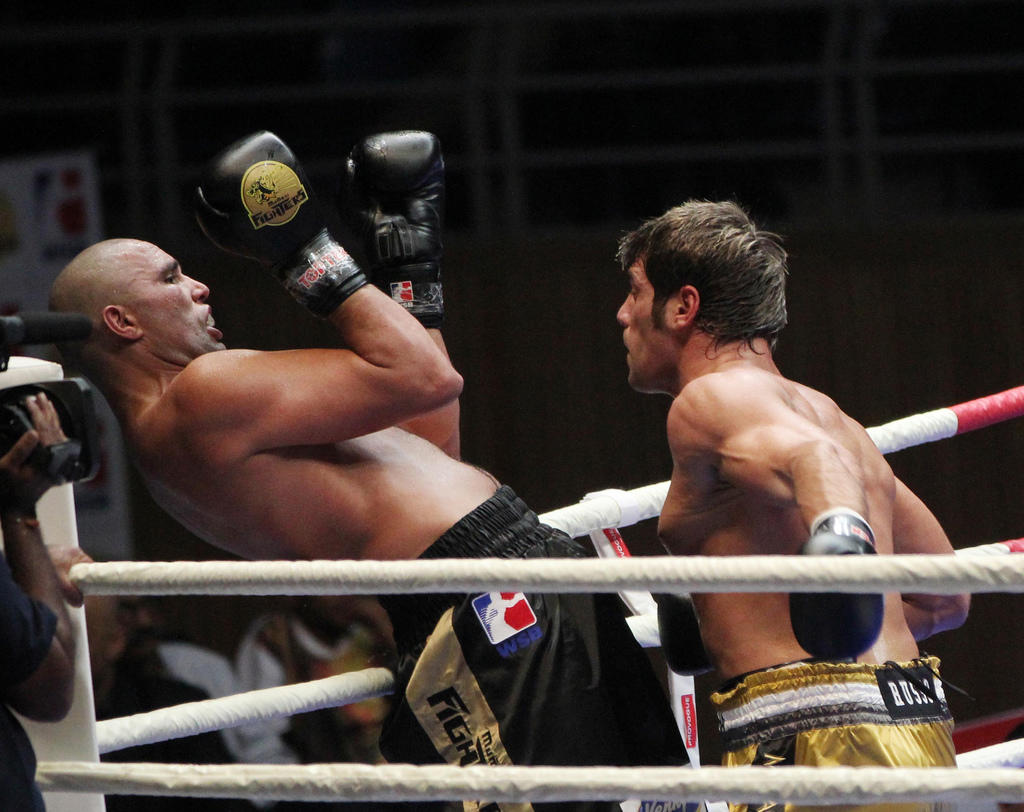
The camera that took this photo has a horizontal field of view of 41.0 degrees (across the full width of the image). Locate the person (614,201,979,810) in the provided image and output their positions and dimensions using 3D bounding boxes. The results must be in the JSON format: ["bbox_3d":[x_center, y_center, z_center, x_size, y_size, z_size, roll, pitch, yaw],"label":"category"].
[{"bbox_3d":[0.467,0.164,2.285,0.549,1.089,0.764,-4,2,4],"label":"person"}]

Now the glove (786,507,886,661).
[{"bbox_3d":[0.444,0.260,1.958,0.124,0.220,0.082,14,-17,-43],"label":"glove"}]

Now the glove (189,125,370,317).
[{"bbox_3d":[-0.421,-0.325,2.486,0.356,0.233,0.130,39,-9,-12],"label":"glove"}]
